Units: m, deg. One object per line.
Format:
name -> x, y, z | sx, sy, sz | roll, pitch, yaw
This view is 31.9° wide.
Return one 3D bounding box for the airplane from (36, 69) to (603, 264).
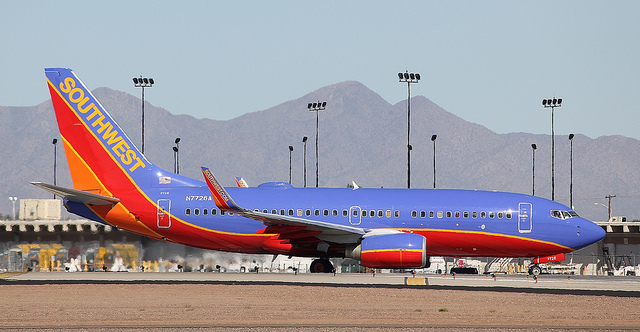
airplane -> 0.546, -0.165, 143.400 | 70.975, 24.676, 7.865 | -1, 4, -4
